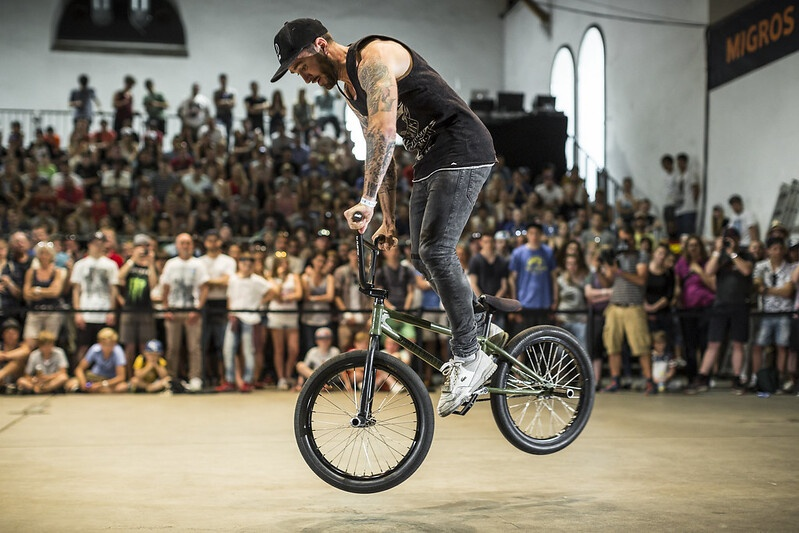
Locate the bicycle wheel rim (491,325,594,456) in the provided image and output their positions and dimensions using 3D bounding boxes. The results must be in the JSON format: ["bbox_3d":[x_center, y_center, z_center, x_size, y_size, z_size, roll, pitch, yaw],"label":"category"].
[{"bbox_3d":[1.052,0.937,9.039,0.957,0.933,0.639,-2,5,-13],"label":"bicycle wheel rim"}]

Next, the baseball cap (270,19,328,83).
[{"bbox_3d":[-0.677,-1.435,8.263,0.469,0.256,0.300,-41,14,-11],"label":"baseball cap"}]

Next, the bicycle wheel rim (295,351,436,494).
[{"bbox_3d":[-0.233,1.157,8.890,0.999,0.935,0.279,2,3,2],"label":"bicycle wheel rim"}]

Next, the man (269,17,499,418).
[{"bbox_3d":[0.010,-0.304,8.388,1.463,2.434,0.560,2,0,-5],"label":"man"}]
